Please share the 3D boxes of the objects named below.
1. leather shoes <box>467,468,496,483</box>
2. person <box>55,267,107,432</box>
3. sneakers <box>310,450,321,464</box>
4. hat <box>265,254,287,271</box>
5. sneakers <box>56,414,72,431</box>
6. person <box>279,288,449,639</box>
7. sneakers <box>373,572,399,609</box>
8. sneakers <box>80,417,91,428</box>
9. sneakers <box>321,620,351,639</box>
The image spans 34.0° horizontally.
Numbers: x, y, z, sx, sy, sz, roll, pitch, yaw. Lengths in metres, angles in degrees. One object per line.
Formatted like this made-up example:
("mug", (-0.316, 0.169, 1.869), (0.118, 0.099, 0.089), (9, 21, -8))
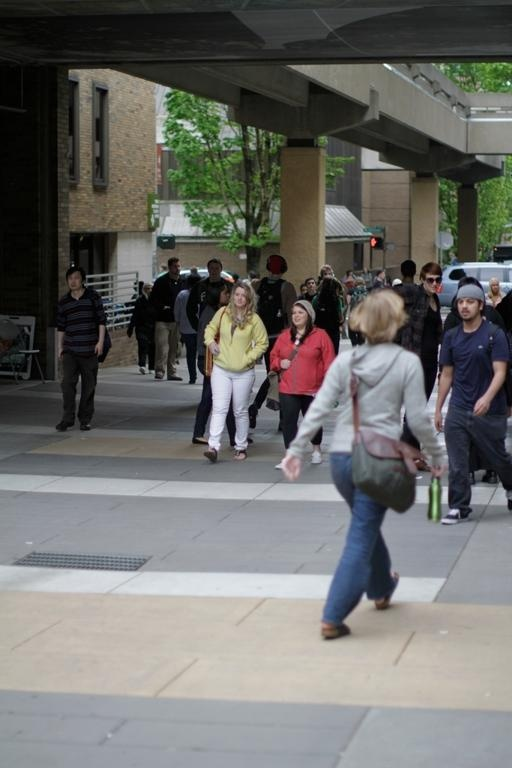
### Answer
("leather shoes", (2.242, 0.909, 8.156), (0.264, 0.153, 0.409), (0, -7, 8))
("person", (-2.241, -0.451, 10.703), (0.640, 2.128, 0.844), (0, 1, -12))
("sneakers", (0.658, 0.806, 9.180), (0.143, 0.127, 0.406), (-1, -3, 8))
("hat", (0.279, -1.636, 11.496), (0.304, 0.305, 0.114), (6, 1, -2))
("sneakers", (-2.482, 0.536, 10.903), (0.117, 0.126, 0.309), (-1, -4, 6))
("person", (0.517, 0.377, 3.814), (0.629, 1.624, 0.699), (1, 1, 28))
("sneakers", (0.690, 1.037, 4.331), (0.089, 0.254, 0.103), (6, -29, 27))
("sneakers", (-2.234, 0.521, 10.948), (0.120, 0.116, 0.113), (1, 3, -8))
("sneakers", (0.369, 1.131, 3.871), (0.058, 0.065, 0.161), (7, 9, 36))
